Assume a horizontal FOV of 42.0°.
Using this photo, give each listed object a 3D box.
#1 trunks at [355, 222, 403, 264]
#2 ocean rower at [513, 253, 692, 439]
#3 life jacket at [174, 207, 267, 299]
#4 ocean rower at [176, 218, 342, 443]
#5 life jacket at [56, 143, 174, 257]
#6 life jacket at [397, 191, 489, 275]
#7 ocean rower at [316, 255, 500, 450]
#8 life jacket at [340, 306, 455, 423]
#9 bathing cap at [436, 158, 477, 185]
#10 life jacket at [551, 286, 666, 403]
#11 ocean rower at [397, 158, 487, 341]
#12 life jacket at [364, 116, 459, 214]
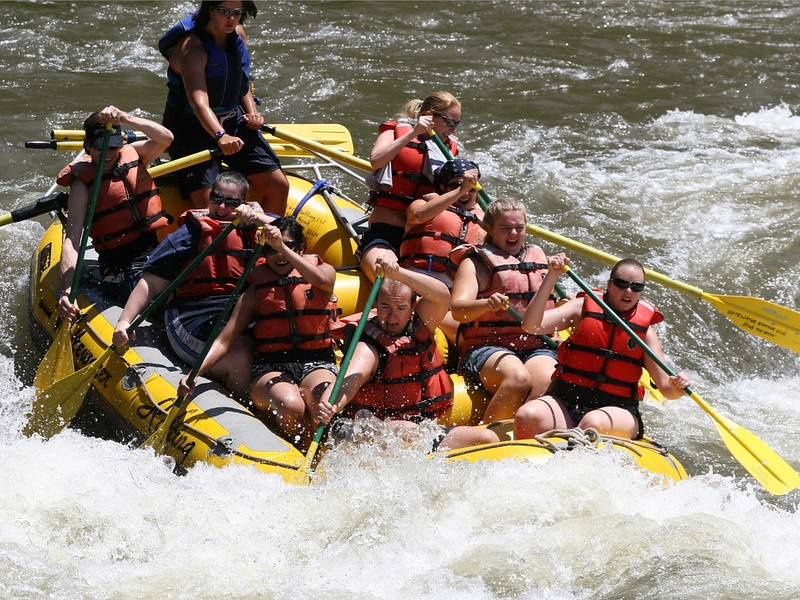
[{"bbox_3d":[-0.220,-0.519,8.347,0.242,0.200,0.348,20,26,34],"label":"trunks"},{"bbox_3d":[1.414,0.317,7.436,1.188,1.266,0.857,-2,28,-2],"label":"ocean rower"},{"bbox_3d":[-1.318,-0.326,7.676,0.562,0.734,0.410,7,7,-44],"label":"life jacket"},{"bbox_3d":[-0.864,0.179,7.508,0.888,1.421,0.861,4,28,10],"label":"ocean rower"},{"bbox_3d":[-2.210,-0.758,8.128,0.747,0.742,0.453,-27,20,-29],"label":"life jacket"},{"bbox_3d":[0.358,-0.503,8.122,0.440,0.577,0.317,31,-4,-28],"label":"life jacket"},{"bbox_3d":[-0.040,0.359,7.274,0.581,1.121,0.981,16,33,29],"label":"ocean rower"},{"bbox_3d":[0.050,0.437,7.548,0.623,0.853,0.474,-14,22,-26],"label":"life jacket"},{"bbox_3d":[0.426,-1.022,8.183,0.207,0.251,0.131,8,55,-40],"label":"bathing cap"},{"bbox_3d":[1.486,0.342,7.568,0.653,0.735,0.417,24,-9,-5],"label":"life jacket"},{"bbox_3d":[0.418,-0.270,8.127,0.703,0.564,1.659,22,57,-24],"label":"ocean rower"},{"bbox_3d":[0.101,-0.969,8.600,0.632,0.797,0.444,7,38,6],"label":"life jacket"}]
